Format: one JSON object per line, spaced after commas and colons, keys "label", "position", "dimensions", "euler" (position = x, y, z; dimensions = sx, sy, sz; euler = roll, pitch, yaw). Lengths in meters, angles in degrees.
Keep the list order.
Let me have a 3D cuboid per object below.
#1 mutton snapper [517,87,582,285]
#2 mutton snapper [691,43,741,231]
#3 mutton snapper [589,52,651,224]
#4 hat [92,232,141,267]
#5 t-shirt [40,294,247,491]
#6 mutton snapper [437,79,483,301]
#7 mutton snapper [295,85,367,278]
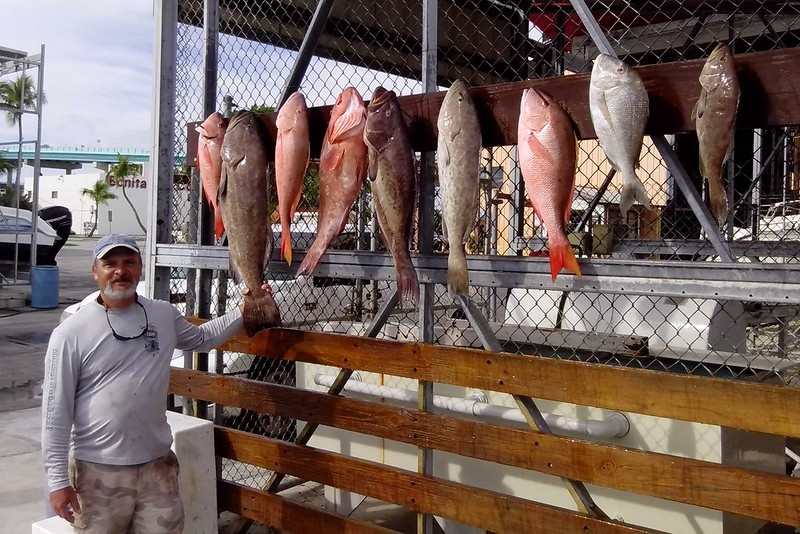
{"label": "mutton snapper", "position": [0.848, -0.483, 3.856], "dimensions": [0.390, 0.940, 0.233], "euler": [5, 2, 10]}
{"label": "mutton snapper", "position": [1.697, -0.741, 3.672], "dimensions": [0.227, 0.999, 0.209], "euler": [5, 3, 28]}
{"label": "mutton snapper", "position": [1.204, -0.744, 3.728], "dimensions": [0.371, 0.825, 0.290], "euler": [5, 3, 19]}
{"label": "hat", "position": [-1.753, -0.104, 4.334], "dimensions": [0.252, 0.201, 0.362], "euler": [7, -19, -19]}
{"label": "t-shirt", "position": [-1.649, 0.835, 4.422], "dimensions": [0.531, 1.252, 1.530], "euler": [-7, -1, 44]}
{"label": "mutton snapper", "position": [0.334, -0.481, 3.999], "dimensions": [0.277, 1.004, 0.239], "euler": [4, 2, 2]}
{"label": "mutton snapper", "position": [-0.414, -0.531, 4.311], "dimensions": [0.424, 0.827, 0.280], "euler": [5, 2, 14]}
